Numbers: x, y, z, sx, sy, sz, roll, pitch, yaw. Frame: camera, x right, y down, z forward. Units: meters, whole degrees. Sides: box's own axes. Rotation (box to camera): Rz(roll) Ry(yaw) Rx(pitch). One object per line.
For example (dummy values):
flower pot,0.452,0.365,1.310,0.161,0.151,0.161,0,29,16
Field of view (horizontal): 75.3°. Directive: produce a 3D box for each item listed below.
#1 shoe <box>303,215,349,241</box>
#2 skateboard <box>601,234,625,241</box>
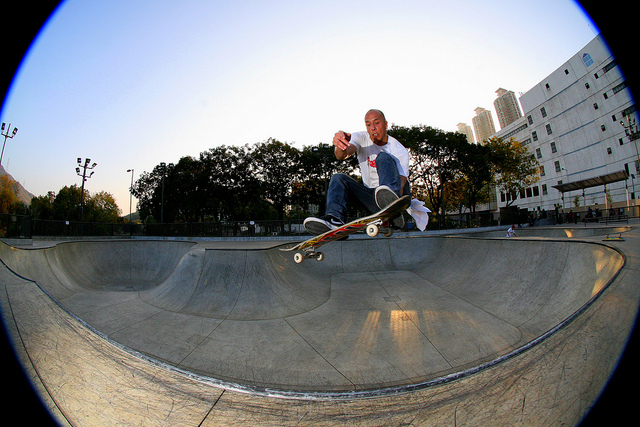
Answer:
shoe,0.114,0.233,6.706,0.708,0.332,0.340,4,-44,6
skateboard,5.061,0.443,7.212,0.228,0.130,0.324,5,-9,-32
